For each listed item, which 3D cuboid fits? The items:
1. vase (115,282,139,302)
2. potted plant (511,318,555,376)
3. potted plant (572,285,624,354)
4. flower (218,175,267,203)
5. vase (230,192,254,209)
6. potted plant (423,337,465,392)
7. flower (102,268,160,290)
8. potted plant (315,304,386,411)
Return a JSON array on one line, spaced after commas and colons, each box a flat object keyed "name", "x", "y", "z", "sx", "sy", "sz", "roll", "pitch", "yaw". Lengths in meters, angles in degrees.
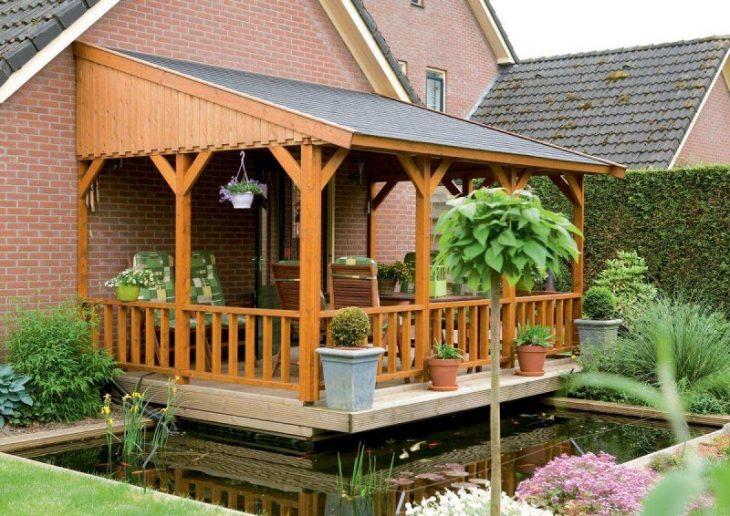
[{"name": "vase", "x": -2.964, "y": 0.424, "z": 9.052, "sx": 0.230, "sy": 0.149, "sz": 0.235, "roll": 0, "pitch": 2, "yaw": -36}, {"name": "potted plant", "x": 2.139, "y": 1.167, "z": 9.527, "sx": 0.693, "sy": 0.718, "sz": 0.574, "roll": 2, "pitch": -10, "yaw": -5}, {"name": "potted plant", "x": 3.251, "y": 0.867, "z": 10.056, "sx": 0.614, "sy": 0.854, "sz": 0.873, "roll": 1, "pitch": 1, "yaw": 19}, {"name": "flower", "x": -1.543, "y": -0.875, "z": 9.095, "sx": 0.594, "sy": 0.284, "sz": 0.583, "roll": 1, "pitch": 5, "yaw": -9}, {"name": "vase", "x": -1.472, "y": -0.714, "z": 8.975, "sx": 0.232, "sy": 0.137, "sz": 0.231, "roll": 2, "pitch": 3, "yaw": 28}, {"name": "potted plant", "x": 0.899, "y": 1.281, "z": 8.453, "sx": 0.461, "sy": 0.549, "sz": 0.481, "roll": 2, "pitch": -8, "yaw": -8}, {"name": "flower", "x": -2.911, "y": 0.267, "z": 9.241, "sx": 0.442, "sy": 0.202, "sz": 0.433, "roll": -1, "pitch": 1, "yaw": -3}, {"name": "potted plant", "x": -0.185, "y": 1.024, "z": 7.366, "sx": 0.589, "sy": 1.015, "sz": 0.480, "roll": 2, "pitch": 2, "yaw": 35}]
